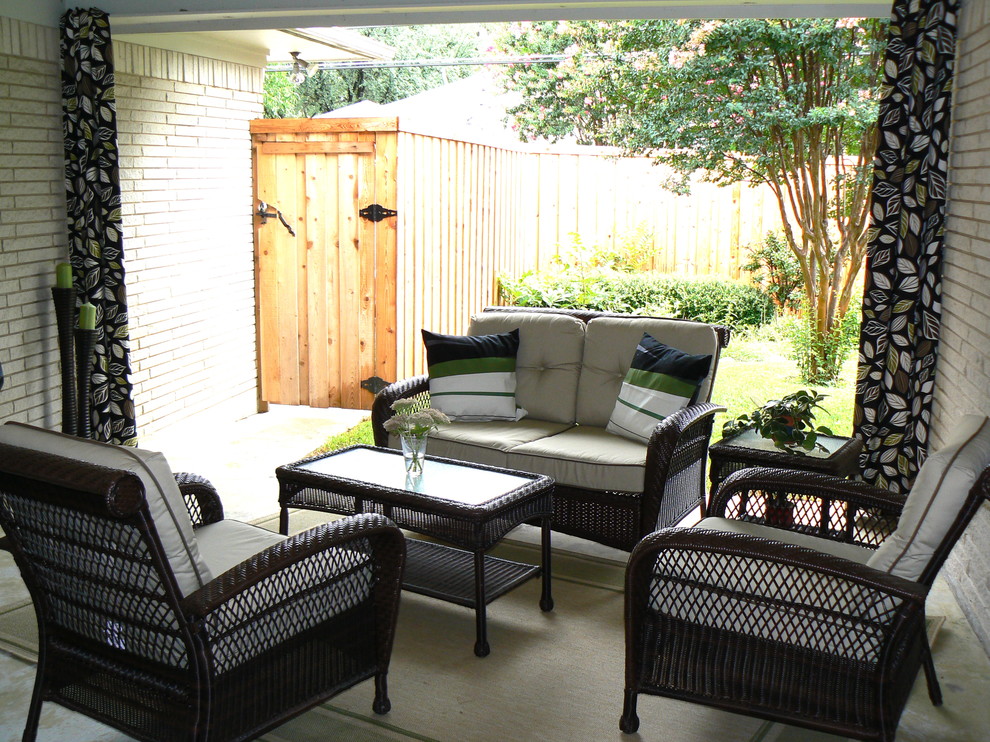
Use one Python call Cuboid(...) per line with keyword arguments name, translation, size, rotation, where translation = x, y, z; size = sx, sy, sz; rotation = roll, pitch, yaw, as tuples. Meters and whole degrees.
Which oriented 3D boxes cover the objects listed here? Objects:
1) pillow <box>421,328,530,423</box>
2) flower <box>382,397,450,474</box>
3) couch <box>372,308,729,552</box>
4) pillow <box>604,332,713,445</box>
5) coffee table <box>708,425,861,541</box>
Cuboid(name="pillow", translation=(-0.096, 0.044, 4.245), size=(0.511, 0.462, 0.175), rotation=(-3, -17, -1))
Cuboid(name="flower", translation=(-0.344, 0.325, 3.420), size=(0.215, 0.270, 0.260), rotation=(-5, -11, 38))
Cuboid(name="couch", translation=(0.323, 0.242, 4.199), size=(1.773, 1.003, 1.012), rotation=(5, 12, 33))
Cuboid(name="pillow", translation=(0.844, 0.099, 3.870), size=(0.280, 0.489, 0.505), rotation=(5, 11, -40))
Cuboid(name="coffee table", translation=(1.487, 0.458, 3.969), size=(0.736, 0.621, 0.689), rotation=(4, 44, 26))
